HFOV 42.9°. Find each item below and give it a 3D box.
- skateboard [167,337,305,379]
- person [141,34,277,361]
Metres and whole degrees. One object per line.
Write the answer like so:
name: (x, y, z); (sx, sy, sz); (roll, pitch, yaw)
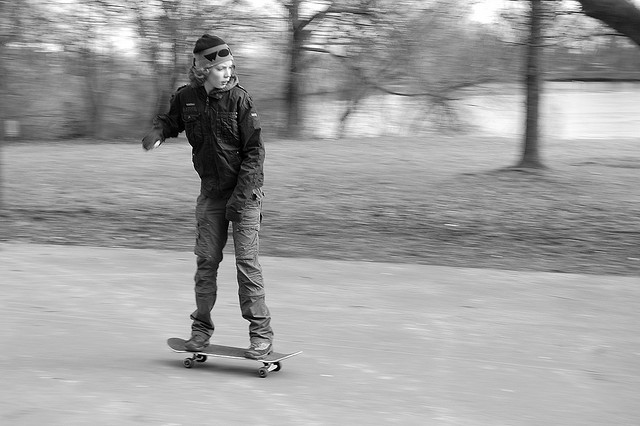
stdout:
skateboard: (-0.771, 1.271, 7.255); (1.480, 0.184, 0.383); (3, 9, 16)
person: (-0.930, -0.137, 7.246); (1.151, 2.814, 0.315); (4, 4, 13)
